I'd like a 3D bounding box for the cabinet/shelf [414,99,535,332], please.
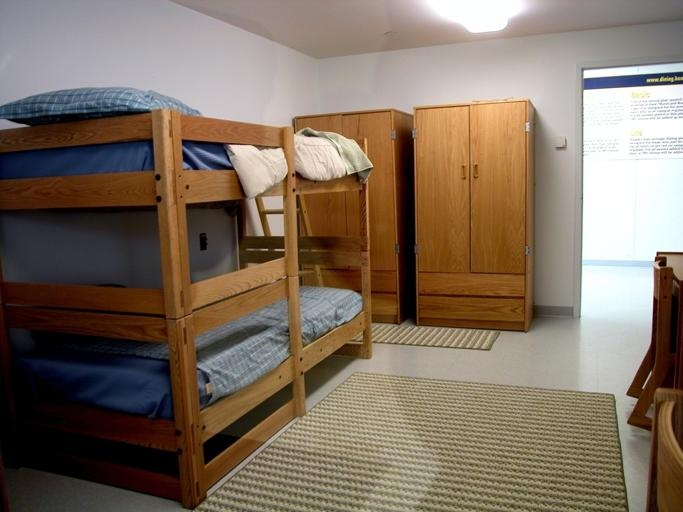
[{"bbox_3d":[1.221,-0.368,4.769,1.039,2.119,0.336,4,12,29],"label":"cabinet/shelf"}]
